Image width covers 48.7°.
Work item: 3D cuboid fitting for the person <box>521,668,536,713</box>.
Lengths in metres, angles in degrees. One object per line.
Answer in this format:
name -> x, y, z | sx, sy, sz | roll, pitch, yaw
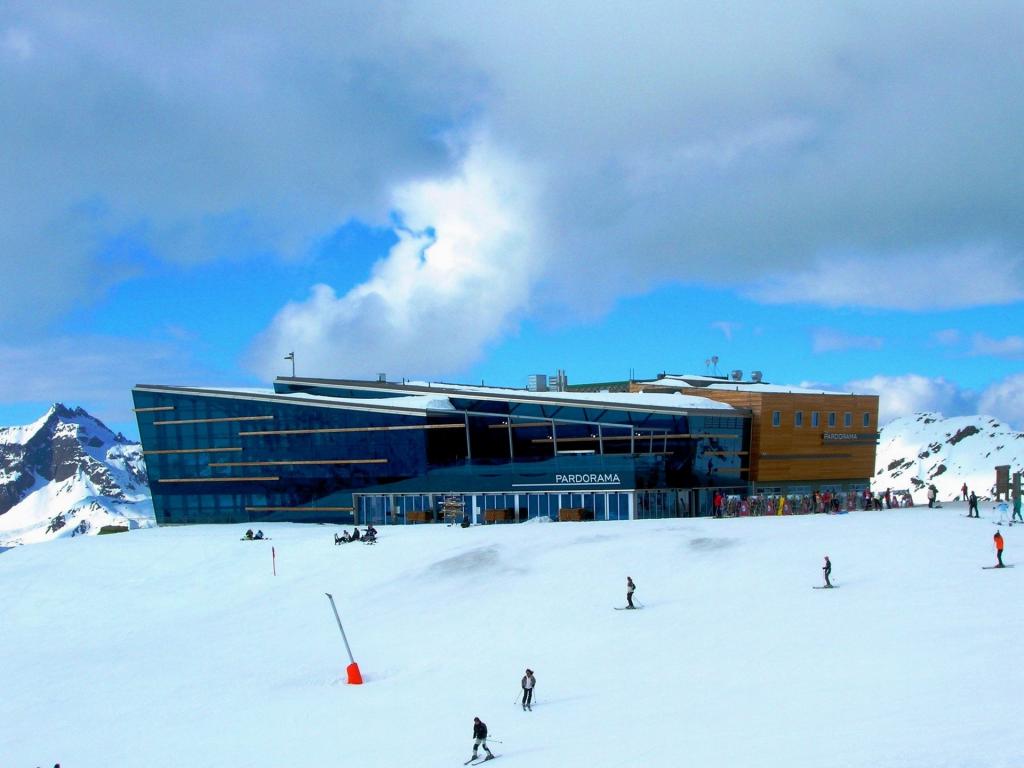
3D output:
person -> 0.562, 12.058, 45.575 | 0.585, 1.692, 1.253 | -7, 10, 0
